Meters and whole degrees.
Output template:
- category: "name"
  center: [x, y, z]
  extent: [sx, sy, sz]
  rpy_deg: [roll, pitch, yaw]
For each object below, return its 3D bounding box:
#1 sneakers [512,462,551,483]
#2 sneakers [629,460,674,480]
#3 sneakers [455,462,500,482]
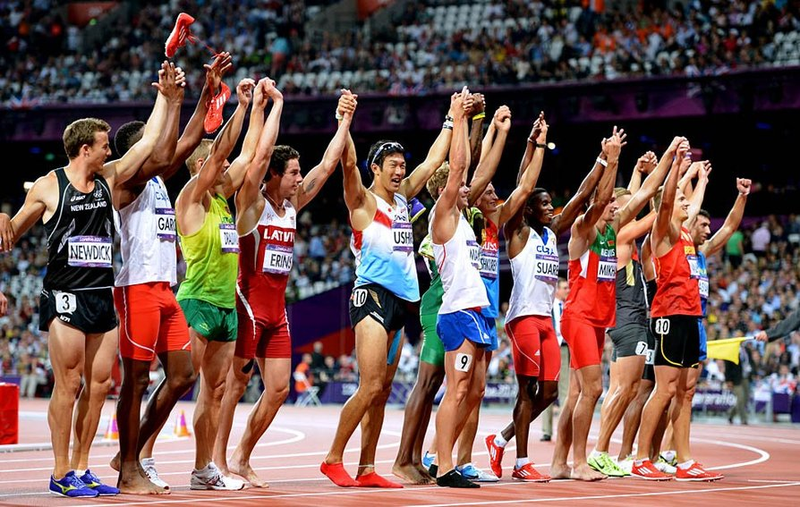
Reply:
- category: "sneakers"
  center: [1.921, 3.186, 13.946]
  extent: [0.536, 0.271, 0.239]
  rpy_deg: [-2, -5, 25]
- category: "sneakers"
  center: [3.795, 3.258, 14.388]
  extent: [0.598, 0.305, 0.247]
  rpy_deg: [2, -3, 15]
- category: "sneakers"
  center: [1.124, 3.197, 13.973]
  extent: [0.651, 0.295, 0.279]
  rpy_deg: [0, -5, -1]
